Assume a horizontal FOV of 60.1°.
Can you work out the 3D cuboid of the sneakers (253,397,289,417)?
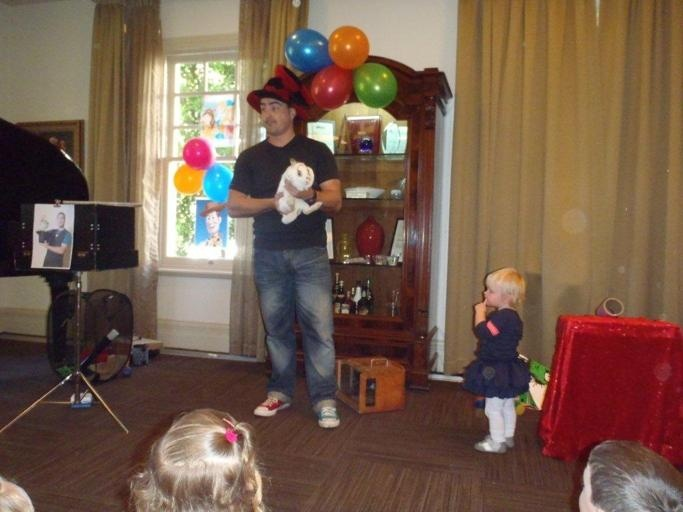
[{"bbox_3d":[-0.444,0.942,3.736,0.090,0.095,0.243,4,-2,35],"label":"sneakers"}]

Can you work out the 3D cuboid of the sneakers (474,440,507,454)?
[{"bbox_3d":[0.838,1.047,3.318,0.159,0.069,0.076,2,2,17],"label":"sneakers"}]

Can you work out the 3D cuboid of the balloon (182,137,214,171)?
[{"bbox_3d":[-1.152,-0.790,4.552,0.216,0.272,0.222,5,17,32],"label":"balloon"}]

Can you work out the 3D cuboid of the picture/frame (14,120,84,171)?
[{"bbox_3d":[-2.219,-0.847,4.527,0.624,0.587,0.049,2,1,10],"label":"picture/frame"}]

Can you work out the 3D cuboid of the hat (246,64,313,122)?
[{"bbox_3d":[-0.342,-0.948,3.741,0.199,0.449,0.305,-39,39,-20],"label":"hat"}]

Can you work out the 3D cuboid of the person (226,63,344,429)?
[{"bbox_3d":[-0.340,-0.074,3.676,0.756,2.153,0.759,2,14,6],"label":"person"}]

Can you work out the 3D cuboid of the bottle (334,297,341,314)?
[{"bbox_3d":[-0.031,0.370,4.418,0.074,0.129,0.076,0,-12,0],"label":"bottle"}]

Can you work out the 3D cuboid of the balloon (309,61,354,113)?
[{"bbox_3d":[-0.086,-1.174,4.220,0.327,0.311,0.468,7,-12,-10],"label":"balloon"}]

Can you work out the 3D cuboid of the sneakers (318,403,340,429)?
[{"bbox_3d":[-0.084,0.957,3.613,0.146,0.133,0.197,1,15,-2],"label":"sneakers"}]

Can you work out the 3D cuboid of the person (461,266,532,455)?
[{"bbox_3d":[0.902,0.591,3.372,0.344,0.990,0.404,6,15,19],"label":"person"}]

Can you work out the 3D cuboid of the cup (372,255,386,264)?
[{"bbox_3d":[0.282,0.017,4.374,0.071,0.055,0.058,0,-2,10],"label":"cup"}]

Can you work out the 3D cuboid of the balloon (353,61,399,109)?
[{"bbox_3d":[0.222,-1.165,4.051,0.236,0.250,0.316,10,10,-45],"label":"balloon"}]

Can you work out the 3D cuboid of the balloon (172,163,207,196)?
[{"bbox_3d":[-1.193,-0.619,4.778,0.223,0.290,0.232,1,4,24],"label":"balloon"}]
